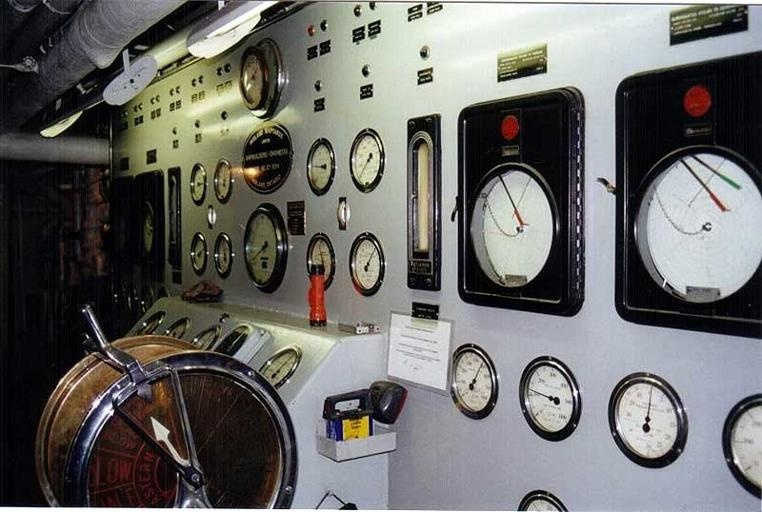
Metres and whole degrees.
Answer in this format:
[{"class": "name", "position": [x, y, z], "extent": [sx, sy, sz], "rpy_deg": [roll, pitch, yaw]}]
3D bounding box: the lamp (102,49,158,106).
[{"class": "lamp", "position": [-1.292, -0.912, 2.909], "extent": [0.273, 0.261, 0.170], "rpy_deg": [-3, 10, -15]}]

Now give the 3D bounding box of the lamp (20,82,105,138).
[{"class": "lamp", "position": [-1.575, -0.741, 2.943], "extent": [0.443, 0.137, 0.230], "rpy_deg": [-22, 14, -22]}]
